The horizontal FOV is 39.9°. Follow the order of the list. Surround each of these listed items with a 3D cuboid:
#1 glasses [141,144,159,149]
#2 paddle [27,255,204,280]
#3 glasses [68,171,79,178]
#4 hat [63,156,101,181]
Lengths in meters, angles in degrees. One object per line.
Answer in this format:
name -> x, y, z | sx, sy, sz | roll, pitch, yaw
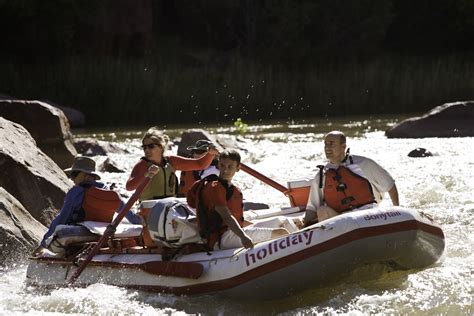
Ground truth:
glasses -> -2.094, -0.296, 15.974 | 0.428, 0.143, 0.135 | 1, 17, -8
paddle -> -2.937, 2.505, 15.497 | 4.412, 0.208, 0.498 | 1, 36, 15
glasses -> -3.947, 0.403, 15.945 | 0.186, 0.202, 0.061 | -6, -3, 43
hat -> -3.707, 0.228, 16.149 | 0.635, 0.382, 0.692 | 4, -11, -4
